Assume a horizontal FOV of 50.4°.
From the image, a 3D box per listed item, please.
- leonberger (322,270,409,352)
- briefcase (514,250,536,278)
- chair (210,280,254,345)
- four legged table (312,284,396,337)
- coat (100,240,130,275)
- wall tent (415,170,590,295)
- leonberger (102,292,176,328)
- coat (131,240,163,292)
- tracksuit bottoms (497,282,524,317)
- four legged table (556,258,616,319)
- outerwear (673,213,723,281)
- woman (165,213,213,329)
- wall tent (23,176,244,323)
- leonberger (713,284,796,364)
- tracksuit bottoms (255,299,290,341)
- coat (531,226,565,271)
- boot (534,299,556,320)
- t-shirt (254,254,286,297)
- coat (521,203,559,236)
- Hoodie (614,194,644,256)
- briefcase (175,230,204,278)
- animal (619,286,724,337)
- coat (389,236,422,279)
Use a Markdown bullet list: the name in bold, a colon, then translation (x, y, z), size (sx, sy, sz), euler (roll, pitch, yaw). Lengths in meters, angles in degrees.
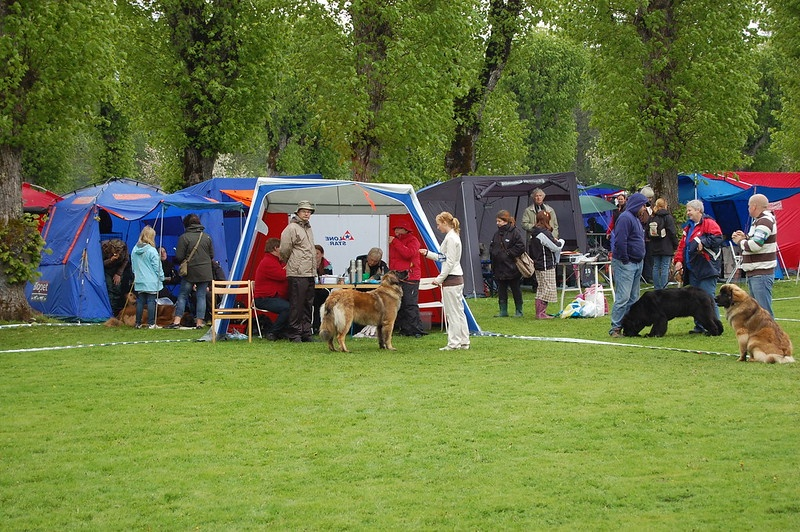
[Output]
- **leonberger**: translation (-0.628, 0.852, 16.192), size (1.479, 1.291, 0.527), euler (2, -8, -23)
- **briefcase**: translation (2.865, -0.025, 19.085), size (0.320, 0.524, 0.453), euler (-3, -5, 40)
- **chair**: translation (-3.281, 0.884, 16.751), size (1.001, 1.178, 0.956), euler (-1, 2, -40)
- **four legged table**: translation (-0.795, 0.832, 15.996), size (1.125, 0.940, 0.425), euler (2, -7, -24)
- **coat**: translation (-6.497, -0.218, 19.389), size (0.610, 0.812, 0.775), euler (4, 27, -28)
- **wall tent**: translation (2.930, -1.448, 23.588), size (4.040, 3.081, 4.015), euler (-1, -2, 10)
- **leonberger**: translation (-5.723, 1.026, 18.851), size (1.190, 0.528, 0.852), euler (0, 2, -40)
- **coat**: translation (-5.361, 0.022, 18.276), size (0.820, 1.010, 0.688), euler (1, 0, 33)
- **tracksuit bottoms**: translation (2.550, 0.549, 19.640), size (0.602, 1.224, 0.380), euler (-3, -7, 32)
- **four legged table**: translation (4.768, 0.390, 20.241), size (0.962, 1.177, 1.103), euler (6, -3, -31)
- **outerwear**: translation (5.992, -0.378, 16.701), size (0.687, 1.275, 0.749), euler (-1, -4, 21)
- **woman**: translation (-4.425, 0.071, 18.188), size (0.883, 2.442, 0.761), euler (1, 2, -28)
- **wall tent**: translation (-6.831, -0.381, 19.938), size (4.501, 2.023, 3.221), euler (-1, 2, 30)
- **leonberger**: translation (6.024, 0.980, 14.427), size (1.183, 1.334, 0.451), euler (-1, -4, 21)
- **tracksuit bottoms**: translation (-2.566, 1.070, 17.147), size (0.781, 0.918, 0.847), euler (-1, 1, 4)
- **coat**: translation (3.323, -0.390, 19.123), size (0.711, 0.838, 0.750), euler (-17, 27, -20)
- **boot**: translation (3.333, 0.976, 19.486), size (0.505, 0.550, 0.317), euler (0, 5, 5)
- **t-shirt**: translation (-2.545, 0.191, 17.432), size (0.949, 0.976, 0.887), euler (-1, 2, -15)
- **coat**: translation (3.411, -1.115, 20.469), size (1.072, 1.002, 0.583), euler (-2, 4, -21)
- **Hoodie**: translation (4.405, -0.732, 16.281), size (0.617, 1.294, 0.819), euler (7, 5, 19)
- **briefcase**: translation (-4.356, -0.249, 17.869), size (0.460, 0.976, 0.214), euler (1, -4, -8)
- **animal**: translation (5.422, 0.885, 16.582), size (1.883, 0.919, 0.562), euler (0, 12, 37)
- **coat**: translation (0.189, -0.237, 17.424), size (0.939, 1.017, 0.784), euler (0, -7, 7)
